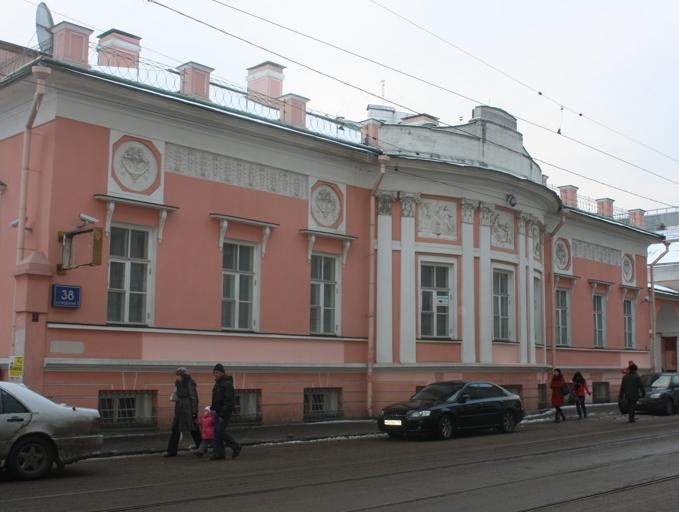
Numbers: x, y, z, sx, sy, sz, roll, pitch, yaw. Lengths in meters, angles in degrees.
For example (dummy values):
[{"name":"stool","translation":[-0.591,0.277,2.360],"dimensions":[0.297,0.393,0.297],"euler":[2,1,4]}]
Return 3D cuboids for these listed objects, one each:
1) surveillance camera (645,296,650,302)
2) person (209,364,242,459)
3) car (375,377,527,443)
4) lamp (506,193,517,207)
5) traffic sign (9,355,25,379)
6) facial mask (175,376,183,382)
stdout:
[{"name":"surveillance camera","translation":[16.681,2.342,41.051],"dimensions":[0.261,0.274,0.276],"euler":[1,-1,12]},{"name":"person","translation":[-2.665,3.590,17.617],"dimensions":[0.649,2.212,0.598],"euler":[1,-14,-9]},{"name":"car","translation":[3.357,4.462,21.958],"dimensions":[3.826,1.268,1.745],"euler":[12,-18,-39]},{"name":"lamp","translation":[6.828,-2.190,29.864],"dimensions":[0.327,0.547,0.522],"euler":[4,-14,-24]},{"name":"traffic sign","translation":[-8.345,2.901,19.560],"dimensions":[0.469,0.628,0.121],"euler":[-7,-15,21]},{"name":"facial mask","translation":[-3.802,2.900,17.854],"dimensions":[0.162,0.172,0.148],"euler":[7,-11,-19]}]
